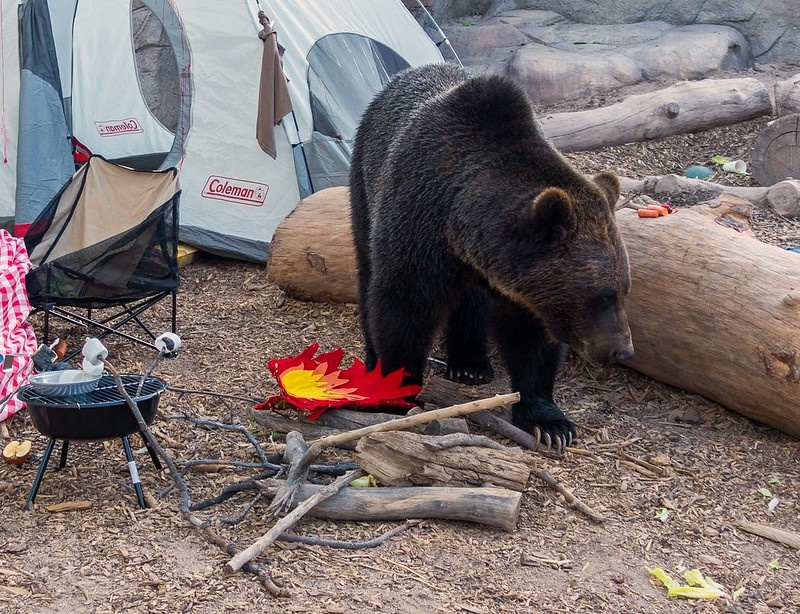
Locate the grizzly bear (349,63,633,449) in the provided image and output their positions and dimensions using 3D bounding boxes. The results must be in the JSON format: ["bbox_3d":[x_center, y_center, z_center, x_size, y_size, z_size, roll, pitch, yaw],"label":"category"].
[{"bbox_3d":[0.432,-0.318,5.143,1.296,2.073,2.181,-14,37,-25],"label":"grizzly bear"}]

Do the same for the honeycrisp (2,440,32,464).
[{"bbox_3d":[-2.138,0.811,4.571,0.140,0.092,0.162,-3,32,-11],"label":"honeycrisp"}]
